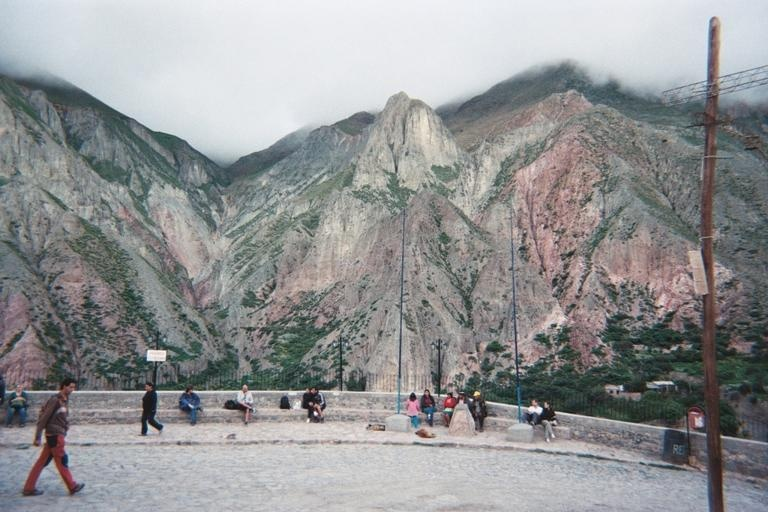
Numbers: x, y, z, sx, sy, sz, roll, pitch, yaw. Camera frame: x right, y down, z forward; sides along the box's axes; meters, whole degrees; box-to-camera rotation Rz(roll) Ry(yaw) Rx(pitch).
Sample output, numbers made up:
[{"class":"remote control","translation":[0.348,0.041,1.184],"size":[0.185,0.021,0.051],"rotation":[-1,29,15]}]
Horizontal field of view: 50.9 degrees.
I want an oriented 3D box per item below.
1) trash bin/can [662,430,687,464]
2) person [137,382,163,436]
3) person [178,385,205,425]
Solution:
[{"class":"trash bin/can","translation":[19.685,12.527,54.419],"size":[1.781,2.414,1.655],"rotation":[-3,3,-9]},{"class":"person","translation":[-15.626,9.906,53.832],"size":[1.405,3.720,1.122],"rotation":[-1,14,-16]},{"class":"person","translation":[-13.733,10.238,56.839],"size":[1.581,2.472,1.187],"rotation":[7,14,21]}]
